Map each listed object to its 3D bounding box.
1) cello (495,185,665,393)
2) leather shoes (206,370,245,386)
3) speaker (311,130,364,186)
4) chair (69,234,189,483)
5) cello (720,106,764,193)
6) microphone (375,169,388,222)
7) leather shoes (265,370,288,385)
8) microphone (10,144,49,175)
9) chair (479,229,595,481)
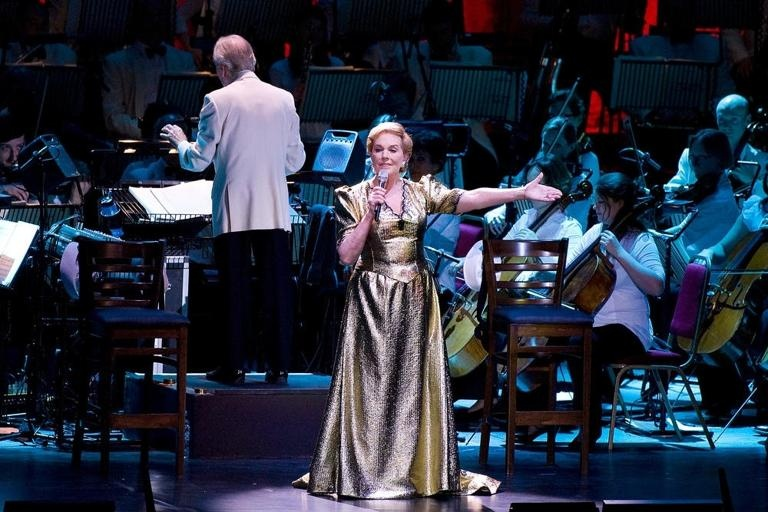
[{"bbox_3d":[1.445,0.241,6.266,0.534,1.449,0.762,7,22,-21],"label":"cello"},{"bbox_3d":[-1.013,0.777,5.892,0.298,0.113,0.094,4,3,41],"label":"leather shoes"},{"bbox_3d":[-0.316,-0.705,6.556,0.281,0.352,0.300,7,-12,27],"label":"speaker"},{"bbox_3d":[-1.535,0.596,5.504,0.711,1.299,0.662,5,3,40],"label":"chair"},{"bbox_3d":[3.188,-0.959,8.223,0.521,0.659,0.200,8,-11,-2],"label":"cello"},{"bbox_3d":[-0.017,-0.330,4.886,0.063,0.287,0.054,-2,-16,10],"label":"microphone"},{"bbox_3d":[-0.698,0.776,5.864,0.141,0.097,0.141,1,2,-6],"label":"leather shoes"},{"bbox_3d":[-2.469,-0.666,6.320,0.280,0.072,0.150,-29,28,16],"label":"microphone"},{"bbox_3d":[0.996,0.610,5.961,0.719,1.447,1.108,2,3,8],"label":"chair"}]
